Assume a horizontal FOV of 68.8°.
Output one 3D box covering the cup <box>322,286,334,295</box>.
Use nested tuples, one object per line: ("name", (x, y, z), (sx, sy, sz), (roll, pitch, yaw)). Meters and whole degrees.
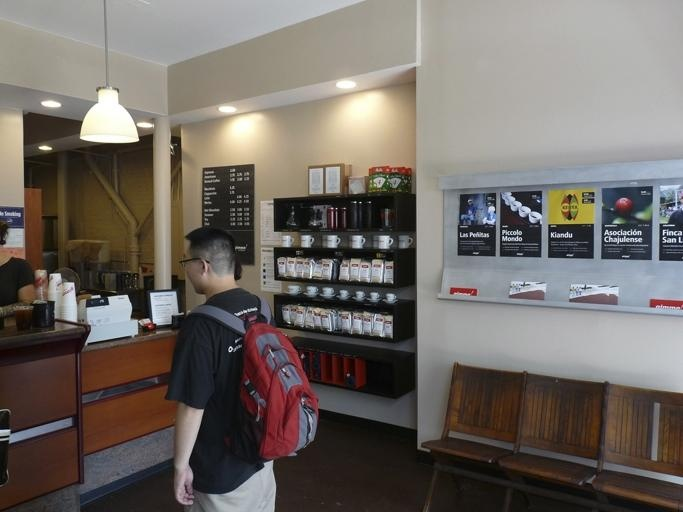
("cup", (-0.126, 0.364, 5.162), (0.095, 0.069, 0.076), (2, -4, -17))

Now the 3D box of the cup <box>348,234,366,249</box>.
("cup", (0.156, -0.136, 4.946), (0.138, 0.120, 0.114), (2, 3, 7))

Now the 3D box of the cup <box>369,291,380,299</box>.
("cup", (0.331, 0.388, 4.837), (0.066, 0.051, 0.055), (5, -6, -40))

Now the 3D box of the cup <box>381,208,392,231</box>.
("cup", (0.417, -0.346, 4.627), (0.109, 0.195, 0.084), (-1, 3, 19))

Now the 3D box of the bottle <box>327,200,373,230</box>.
("bottle", (0.097, -0.409, 4.945), (0.596, 0.296, 0.190), (1, 4, 42))

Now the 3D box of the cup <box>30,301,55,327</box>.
("cup", (-2.068, 0.404, 3.453), (0.134, 0.182, 0.080), (-4, 3, -35))

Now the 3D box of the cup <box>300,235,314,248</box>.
("cup", (-0.357, -0.160, 5.287), (0.140, 0.131, 0.112), (2, -4, -33))

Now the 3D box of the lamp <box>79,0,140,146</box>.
("lamp", (-2.103, -1.641, 4.450), (0.423, 1.331, 1.384), (-3, 3, -26))

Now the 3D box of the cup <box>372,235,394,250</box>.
("cup", (0.388, -0.134, 4.771), (0.154, 0.120, 0.126), (1, 2, 18))

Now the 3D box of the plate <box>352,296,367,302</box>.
("plate", (0.185, 0.418, 4.896), (0.132, 0.049, 0.160), (-2, 3, 0))

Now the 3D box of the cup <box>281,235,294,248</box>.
("cup", (-0.583, -0.172, 5.459), (0.105, 0.129, 0.135), (0, 0, 36))

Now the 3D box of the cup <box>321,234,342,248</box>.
("cup", (-0.102, -0.156, 5.090), (0.175, 0.141, 0.128), (0, 3, 13))

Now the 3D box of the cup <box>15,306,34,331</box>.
("cup", (-2.173, 0.421, 3.400), (0.091, 0.163, 0.092), (-2, 3, 0))

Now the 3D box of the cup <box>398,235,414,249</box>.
("cup", (0.643, -0.126, 4.865), (0.159, 0.125, 0.104), (-2, 2, -37))

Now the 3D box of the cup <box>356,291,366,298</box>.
("cup", (0.197, 0.387, 4.954), (0.070, 0.059, 0.056), (3, -7, -20))

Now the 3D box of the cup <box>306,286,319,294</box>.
("cup", (-0.313, 0.359, 5.254), (0.085, 0.065, 0.070), (2, -1, -7))

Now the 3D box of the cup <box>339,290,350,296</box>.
("cup", (0.035, 0.375, 5.039), (0.076, 0.065, 0.063), (4, -6, -29))

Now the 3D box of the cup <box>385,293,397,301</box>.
("cup", (0.480, 0.397, 4.808), (0.077, 0.066, 0.063), (0, -2, -5))
